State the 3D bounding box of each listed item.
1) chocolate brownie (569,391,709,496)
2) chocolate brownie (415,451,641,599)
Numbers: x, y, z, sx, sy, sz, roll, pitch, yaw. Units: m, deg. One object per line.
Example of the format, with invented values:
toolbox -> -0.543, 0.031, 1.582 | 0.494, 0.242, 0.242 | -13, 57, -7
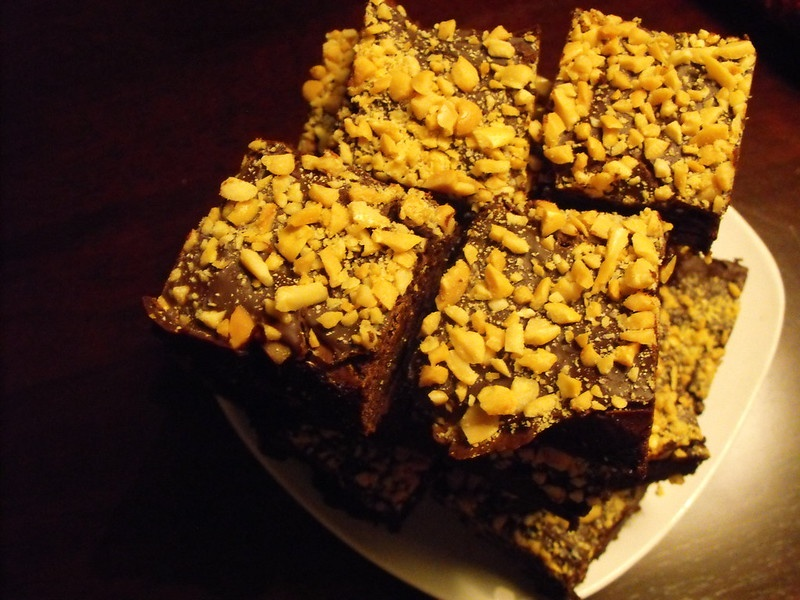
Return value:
chocolate brownie -> 0.674, 0.408, 2.178 | 0.312, 0.109, 0.308 | -17, 53, 9
chocolate brownie -> 0.382, 0.628, 2.154 | 0.594, 0.297, 0.256 | 3, 37, 2
